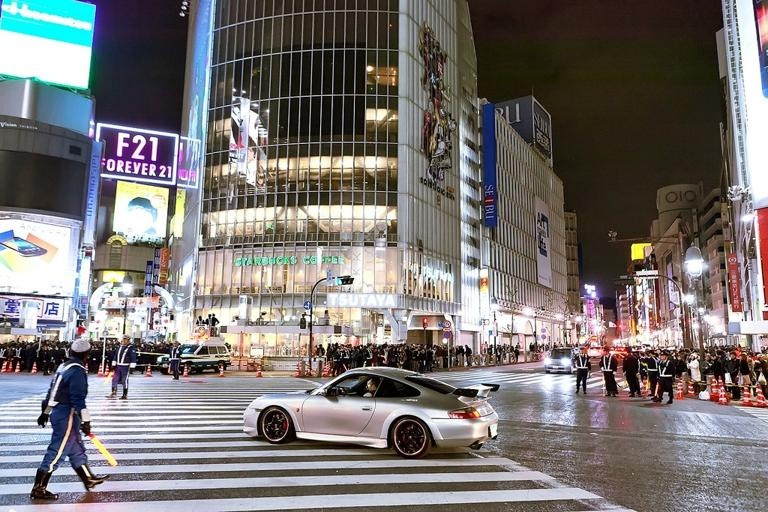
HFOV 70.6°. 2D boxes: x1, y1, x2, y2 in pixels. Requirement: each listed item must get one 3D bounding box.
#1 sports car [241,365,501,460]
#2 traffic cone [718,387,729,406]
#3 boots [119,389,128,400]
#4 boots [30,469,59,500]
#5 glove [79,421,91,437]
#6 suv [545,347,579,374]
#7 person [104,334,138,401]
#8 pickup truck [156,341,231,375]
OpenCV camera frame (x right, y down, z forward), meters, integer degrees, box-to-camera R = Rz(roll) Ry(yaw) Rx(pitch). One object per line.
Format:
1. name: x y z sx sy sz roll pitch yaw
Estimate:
1. sports car: -0.474 4.229 14.697 6.436 1.986 3.457 -2 -16 18
2. traffic cone: 14.159 5.970 22.696 0.484 0.686 0.523 -6 -11 25
3. boots: -10.004 5.371 21.054 0.270 0.412 0.910 6 -12 -24
4. boots: -6.503 4.444 10.494 0.472 0.558 0.435 8 -13 -30
5. glove: -5.767 3.380 10.559 0.180 0.251 0.369 8 -13 -32
6. suv: 13.255 7.814 40.413 1.869 1.691 3.385 -5 -14 25
7. person: -10.158 4.292 21.251 1.302 2.848 0.886 2 -3 -31
8. pickup truck: -12.345 6.843 35.999 3.649 1.965 2.343 13 -19 -42
